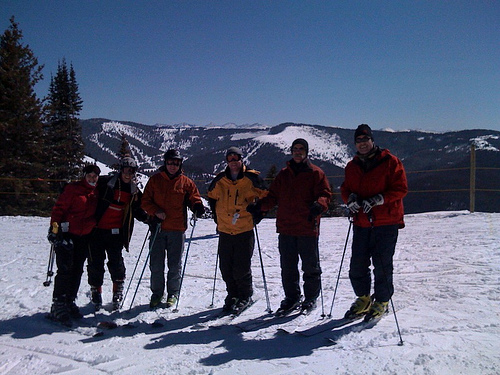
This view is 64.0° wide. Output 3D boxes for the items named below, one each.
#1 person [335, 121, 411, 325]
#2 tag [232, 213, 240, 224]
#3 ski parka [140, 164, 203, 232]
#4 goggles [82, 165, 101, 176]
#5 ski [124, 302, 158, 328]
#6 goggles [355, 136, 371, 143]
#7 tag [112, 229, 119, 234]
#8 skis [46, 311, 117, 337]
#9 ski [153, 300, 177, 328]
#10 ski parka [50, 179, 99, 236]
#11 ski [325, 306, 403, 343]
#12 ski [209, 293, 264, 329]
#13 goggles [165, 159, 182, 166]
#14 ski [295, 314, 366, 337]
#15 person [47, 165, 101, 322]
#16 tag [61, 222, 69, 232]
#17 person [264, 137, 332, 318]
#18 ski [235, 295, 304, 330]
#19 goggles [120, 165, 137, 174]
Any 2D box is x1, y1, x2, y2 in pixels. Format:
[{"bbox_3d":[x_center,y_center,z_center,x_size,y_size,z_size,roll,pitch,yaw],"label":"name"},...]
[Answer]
[{"bbox_3d":[1.902,0.549,6.238,0.970,3.009,0.613,2,8,21],"label":"person"},{"bbox_3d":[-0.262,0.529,6.707,0.086,0.172,0.039,17,0,7],"label":"tag"},{"bbox_3d":[-1.410,0.204,7.097,1.053,1.204,0.473,-4,8,-16],"label":"ski parka"},{"bbox_3d":[-2.650,-0.300,6.694,0.188,0.116,0.174,-6,-15,39],"label":"goggles"},{"bbox_3d":[-1.784,2.094,6.576,0.196,0.081,0.799,1,9,16],"label":"ski"},{"bbox_3d":[1.738,-0.741,6.199,0.205,0.097,0.046,1,8,16],"label":"goggles"},{"bbox_3d":[-2.359,0.767,6.969,0.103,0.080,0.059,0,-7,-4],"label":"tag"},{"bbox_3d":[-2.640,2.103,6.165,1.073,0.309,0.058,-2,14,-25],"label":"skis"},{"bbox_3d":[-1.423,2.107,6.623,0.196,0.078,0.778,-1,9,3],"label":"ski"},{"bbox_3d":[-2.902,0.291,6.794,0.459,0.970,0.952,5,-4,34],"label":"ski parka"},{"bbox_3d":[1.725,2.075,6.032,1.256,0.200,0.161,-15,21,-41],"label":"ski"},{"bbox_3d":[-0.205,2.100,6.813,0.260,0.094,1.911,0,-1,23],"label":"ski"},{"bbox_3d":[-1.351,-0.435,7.015,0.260,0.125,0.138,-4,9,-17],"label":"goggles"},{"bbox_3d":[1.230,2.107,6.086,1.188,0.063,0.138,-3,7,-44],"label":"ski"},{"bbox_3d":[-2.910,0.886,6.615,0.470,2.456,0.929,2,9,25],"label":"person"},{"bbox_3d":[-3.002,0.649,6.479,0.116,0.122,0.123,1,6,10],"label":"tag"},{"bbox_3d":[0.794,0.626,6.637,1.040,2.823,0.708,0,8,12],"label":"person"},{"bbox_3d":[0.310,2.051,6.508,0.179,0.092,1.680,-3,5,32],"label":"ski"},{"bbox_3d":[-2.107,-0.305,6.888,0.148,0.091,0.190,6,-30,-6],"label":"goggles"}]
